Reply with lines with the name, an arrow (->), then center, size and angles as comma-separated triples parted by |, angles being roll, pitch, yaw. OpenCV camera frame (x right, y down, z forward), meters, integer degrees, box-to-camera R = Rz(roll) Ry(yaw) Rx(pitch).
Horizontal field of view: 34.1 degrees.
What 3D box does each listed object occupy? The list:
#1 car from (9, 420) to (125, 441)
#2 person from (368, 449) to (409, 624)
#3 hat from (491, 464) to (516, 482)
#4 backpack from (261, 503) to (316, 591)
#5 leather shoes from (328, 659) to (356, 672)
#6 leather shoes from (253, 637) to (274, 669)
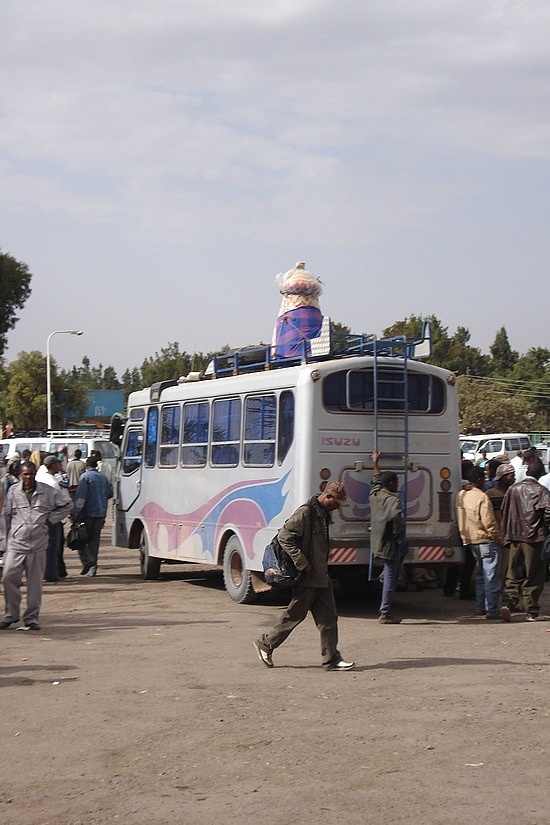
car -> -11.425, 0.926, 47.320 | 3.774, 0.897, 0.943 | -1, 1, 14
person -> 1.247, 1.516, 9.989 | 0.401, 1.736, 0.783 | 1, -5, 7
hat -> 2.936, 0.800, 11.651 | 0.245, 0.124, 0.229 | -16, -7, 43
backpack -> 0.111, 1.109, 7.544 | 0.447, 0.760, 0.354 | 0, -5, 12
leather shoes -> 0.549, 2.106, 7.445 | 0.241, 0.078, 0.085 | -4, 2, 11
leather shoes -> -0.093, 2.068, 7.635 | 0.141, 0.267, 0.099 | -14, 28, 14
